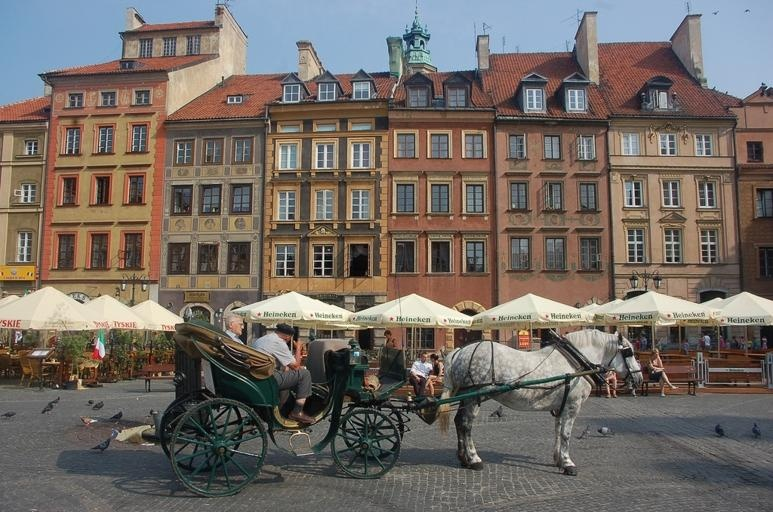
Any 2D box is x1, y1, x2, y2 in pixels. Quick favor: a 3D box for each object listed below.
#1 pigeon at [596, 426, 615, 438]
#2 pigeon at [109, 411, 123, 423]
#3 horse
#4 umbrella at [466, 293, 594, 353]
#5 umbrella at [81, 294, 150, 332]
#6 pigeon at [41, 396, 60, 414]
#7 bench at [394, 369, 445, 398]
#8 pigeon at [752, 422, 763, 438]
[{"bbox_3d":[6.918,5.508,27.188,0.486,0.299,0.229,6,1,-3],"label":"pigeon"},{"bbox_3d":[-8.869,5.295,28.707,0.574,0.371,0.212,-13,-12,38],"label":"pigeon"},{"bbox_3d":[4.402,4.169,25.154,5.882,4.022,1.544,1,-14,4],"label":"horse"},{"bbox_3d":[6.141,2.837,36.925,3.297,1.259,3.133,0,-9,0],"label":"umbrella"},{"bbox_3d":[-11.706,2.062,36.810,2.669,0.845,2.680,3,29,-12],"label":"umbrella"},{"bbox_3d":[-11.529,5.079,29.596,0.552,0.352,0.540,5,-5,-7],"label":"pigeon"},{"bbox_3d":[1.326,5.159,33.735,1.902,0.466,2.046,0,-1,-3],"label":"bench"},{"bbox_3d":[11.769,5.492,27.358,0.255,0.485,0.438,2,20,18],"label":"pigeon"}]
